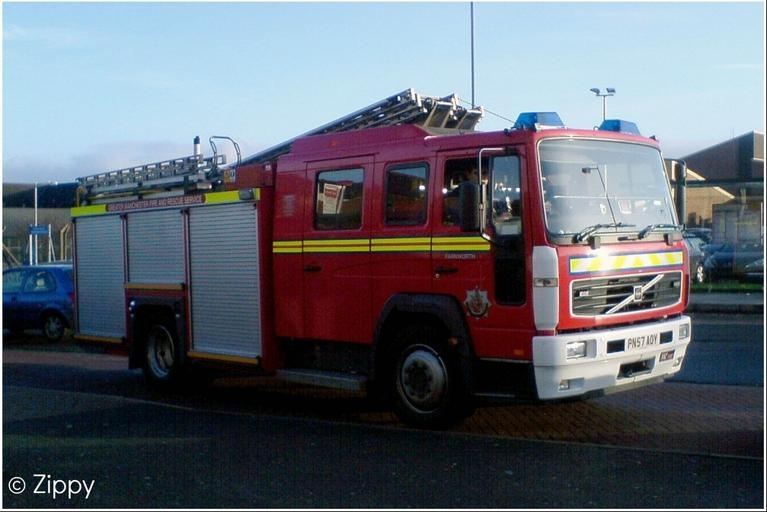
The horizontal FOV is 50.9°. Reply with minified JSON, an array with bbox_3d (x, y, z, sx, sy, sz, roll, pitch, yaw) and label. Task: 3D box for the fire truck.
[{"bbox_3d":[-0.860,0.119,12.659,10.397,4.109,2.908,3,5,34],"label":"fire truck"}]
